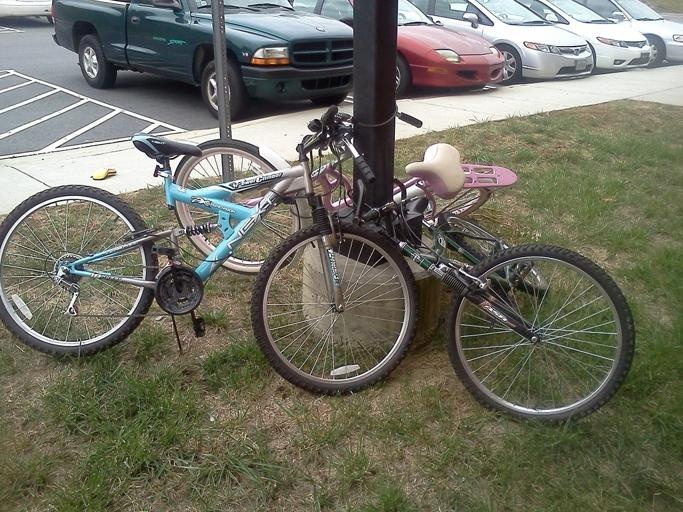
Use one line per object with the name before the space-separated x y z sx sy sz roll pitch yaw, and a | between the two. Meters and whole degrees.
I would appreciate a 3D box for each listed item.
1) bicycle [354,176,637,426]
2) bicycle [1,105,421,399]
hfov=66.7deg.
bicycle | 0.576 0.157 3.026 1.729 1.023 0.852 18 12 4
bicycle | -0.727 -0.101 2.921 2.389 1.402 1.107 8 42 5
